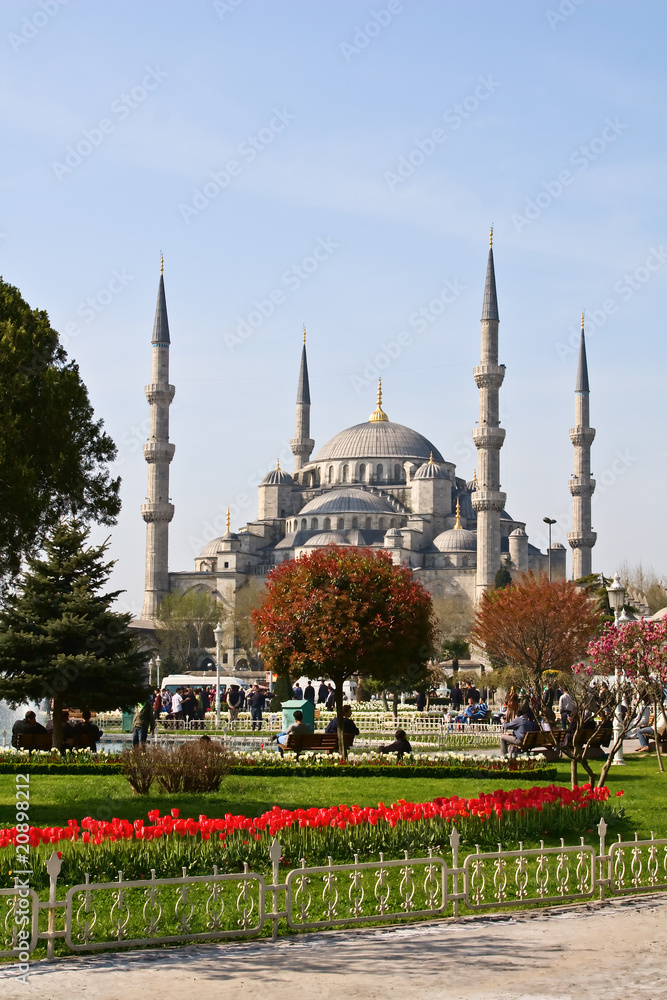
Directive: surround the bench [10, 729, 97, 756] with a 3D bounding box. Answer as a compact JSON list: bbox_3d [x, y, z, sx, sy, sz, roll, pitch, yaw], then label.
[{"bbox_3d":[-2.956,2.489,26.384,0.998,0.288,0.778,3,-8,-23],"label":"bench"}]
